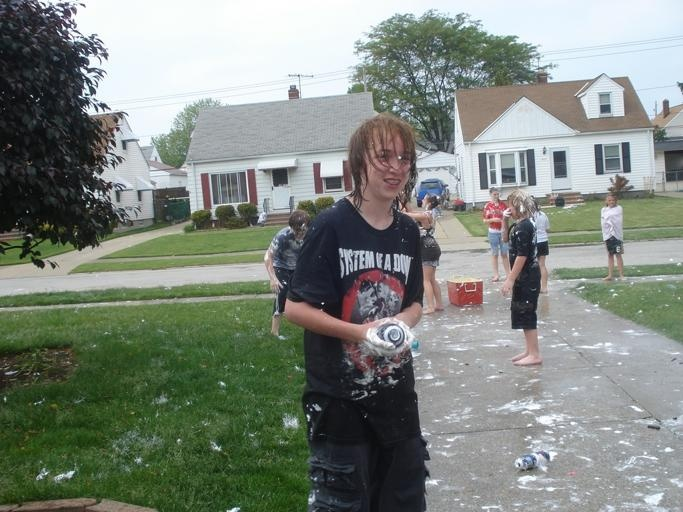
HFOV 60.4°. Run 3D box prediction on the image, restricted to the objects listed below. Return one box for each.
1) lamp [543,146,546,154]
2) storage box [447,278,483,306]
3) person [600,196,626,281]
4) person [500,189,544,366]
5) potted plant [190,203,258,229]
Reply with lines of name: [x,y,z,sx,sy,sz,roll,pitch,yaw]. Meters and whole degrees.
lamp: [10.812,-5.518,31.127,0.254,0.413,0.094,-3,12,-13]
storage box: [2.284,0.634,10.756,0.485,0.380,0.502,-3,7,-2]
person: [5.782,-0.395,12.418,0.482,1.674,0.921,3,13,15]
person: [2.280,0.289,7.257,0.497,2.059,0.803,3,13,16]
potted plant: [-6.315,-2.130,32.137,3.528,1.401,1.120,0,12,-1]
